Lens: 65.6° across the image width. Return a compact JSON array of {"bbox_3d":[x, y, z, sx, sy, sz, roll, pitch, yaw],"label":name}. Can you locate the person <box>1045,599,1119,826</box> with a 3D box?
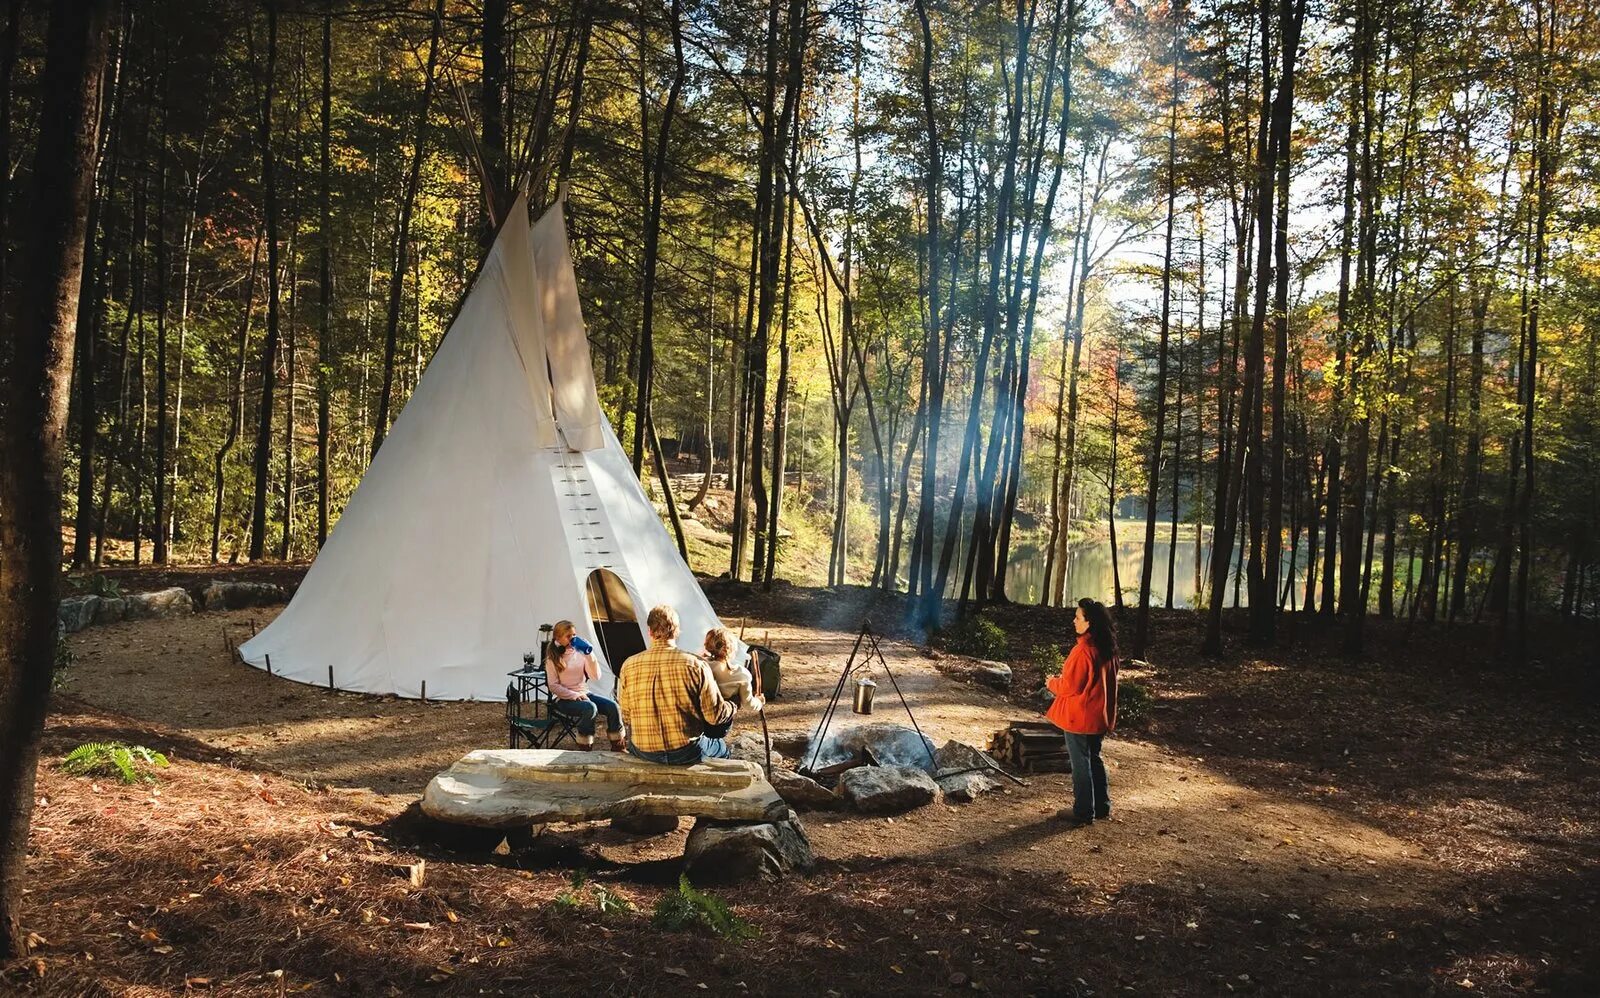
[{"bbox_3d":[4.706,3.487,20.581,1.011,3.633,1.136,3,-2,14],"label":"person"}]
